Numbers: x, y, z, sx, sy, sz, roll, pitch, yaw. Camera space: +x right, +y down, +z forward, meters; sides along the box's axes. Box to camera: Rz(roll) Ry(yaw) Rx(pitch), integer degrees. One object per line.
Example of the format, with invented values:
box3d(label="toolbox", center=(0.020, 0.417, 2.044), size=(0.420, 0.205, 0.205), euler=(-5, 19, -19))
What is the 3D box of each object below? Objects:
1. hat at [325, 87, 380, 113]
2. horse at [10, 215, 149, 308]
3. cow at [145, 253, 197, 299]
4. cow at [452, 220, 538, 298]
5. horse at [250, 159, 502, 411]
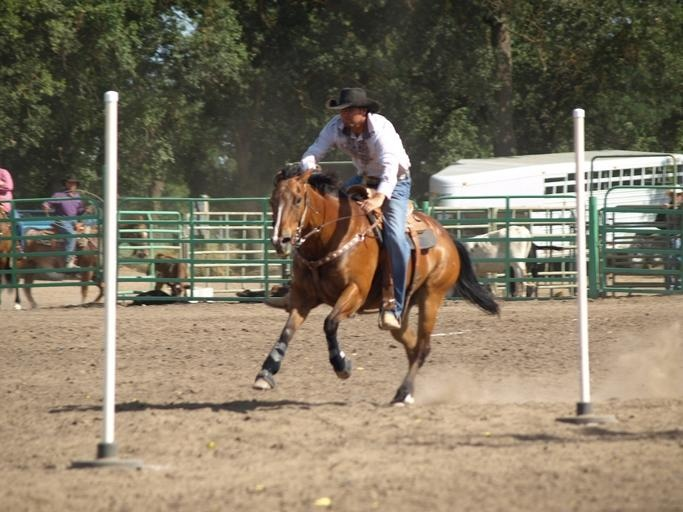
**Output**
box3d(label="hat", center=(0.165, -2.033, 14.055), size=(0.583, 0.153, 0.398), euler=(2, -4, -18))
box3d(label="horse", center=(-5.361, 0.156, 21.496), size=(1.868, 1.659, 1.731), euler=(-1, 2, 7))
box3d(label="cow", center=(-3.303, 0.377, 21.193), size=(0.677, 0.819, 0.832), euler=(-1, 2, -9))
box3d(label="cow", center=(3.323, 0.183, 21.612), size=(0.672, 1.065, 2.259), euler=(-22, -4, -19))
box3d(label="horse", center=(0.344, 0.386, 14.441), size=(0.949, 3.114, 3.203), euler=(0, 2, 42))
